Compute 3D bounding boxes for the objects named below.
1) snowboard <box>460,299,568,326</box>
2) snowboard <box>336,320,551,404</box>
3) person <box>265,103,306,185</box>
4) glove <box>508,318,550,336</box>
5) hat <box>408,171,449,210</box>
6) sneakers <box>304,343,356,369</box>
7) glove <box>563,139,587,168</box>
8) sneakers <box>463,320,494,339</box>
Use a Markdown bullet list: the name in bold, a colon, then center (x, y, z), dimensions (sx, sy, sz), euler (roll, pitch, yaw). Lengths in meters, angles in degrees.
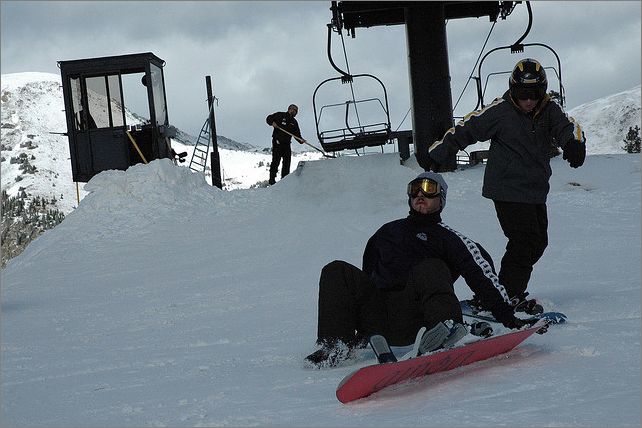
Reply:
- **snowboard**: center (1.680, 0.884, 6.872), dimensions (0.950, 0.242, 0.162), euler (4, 31, -1)
- **snowboard**: center (1.132, 1.183, 6.195), dimensions (2.320, 0.248, 0.528), euler (-10, -19, -18)
- **person**: center (-0.761, -1.422, 15.598), dimensions (0.740, 1.470, 1.409), euler (-5, 12, -2)
- **glove**: center (1.739, 0.929, 6.508), dimensions (0.078, 0.123, 0.432), euler (34, -5, -12)
- **hat**: center (0.976, -0.204, 6.843), dimensions (0.279, 0.338, 0.307), euler (-2, 13, 27)
- **sneakers**: center (0.071, 1.189, 6.435), dimensions (0.429, 0.177, 0.200), euler (-2, -1, -6)
- **glove**: center (2.348, -0.554, 7.158), dimensions (0.247, 0.240, 0.103), euler (4, -2, 15)
- **sneakers**: center (1.320, 0.956, 6.408), dimensions (0.180, 0.081, 0.133), euler (-5, -6, 17)
